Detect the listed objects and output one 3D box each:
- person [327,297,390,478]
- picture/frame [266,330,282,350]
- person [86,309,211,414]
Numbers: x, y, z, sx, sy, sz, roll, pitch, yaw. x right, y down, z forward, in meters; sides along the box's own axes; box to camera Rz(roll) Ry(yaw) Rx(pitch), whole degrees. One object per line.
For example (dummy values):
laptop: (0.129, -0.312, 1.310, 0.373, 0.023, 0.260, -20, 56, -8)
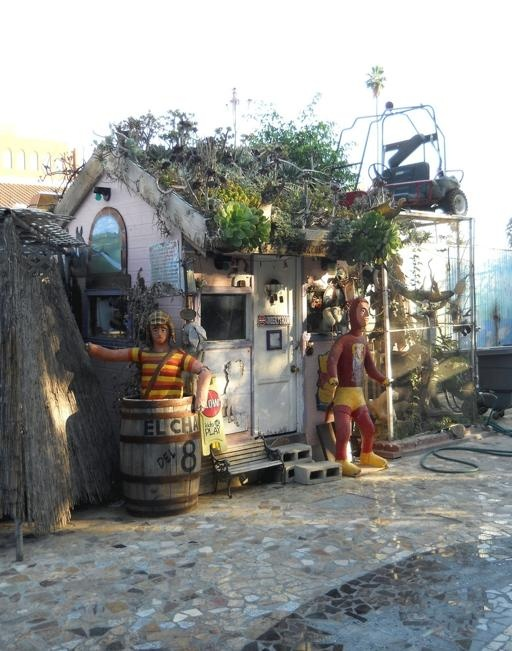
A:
person: (1.147, 0.705, 7.195, 0.792, 2.076, 0.452, 0, -2, -38)
picture/frame: (0.197, 0.168, 7.074, 0.025, 0.197, 0.238, -2, 0, 37)
person: (-1.042, 0.390, 6.010, 1.145, 1.337, 0.487, -2, -21, -3)
